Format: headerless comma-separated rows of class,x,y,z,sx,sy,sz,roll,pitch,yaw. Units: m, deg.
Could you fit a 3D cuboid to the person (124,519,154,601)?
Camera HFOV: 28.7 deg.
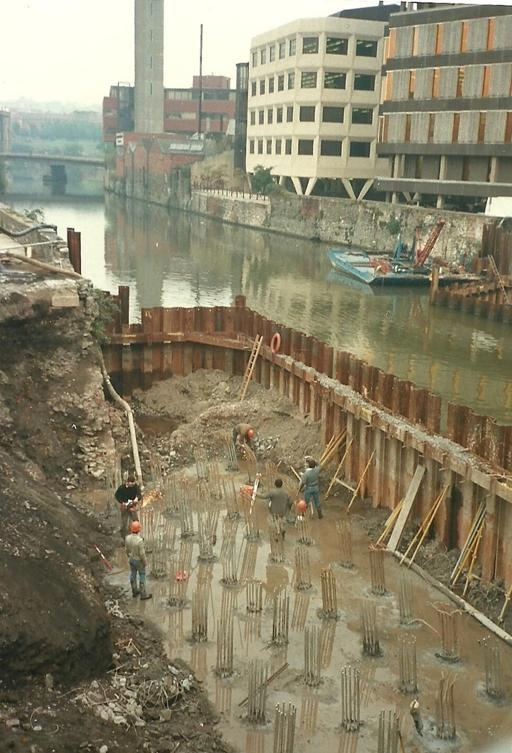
person,-1.986,2.942,16.984,0.423,1.344,1.066,0,13,-8

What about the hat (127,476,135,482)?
hat,-2.459,2.033,19.790,0.113,0.123,0.144,-9,-25,34

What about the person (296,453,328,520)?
person,1.095,2.180,19.715,0.441,1.240,0.375,-4,17,-4

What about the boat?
boat,8.262,-6.638,54.482,4.623,3.066,6.333,2,18,-20

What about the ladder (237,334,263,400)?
ladder,-0.124,-0.325,27.180,0.586,1.504,1.473,2,13,1

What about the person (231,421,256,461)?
person,-0.288,1.508,23.326,0.525,0.706,0.715,2,13,-2

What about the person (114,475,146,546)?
person,-2.487,2.629,19.759,0.534,1.448,0.519,-12,20,-33

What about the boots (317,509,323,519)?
boots,1.255,2.691,19.672,0.131,0.241,0.160,-5,31,-1

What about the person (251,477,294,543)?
person,0.375,2.444,19.394,0.625,1.234,0.648,-9,23,-25
